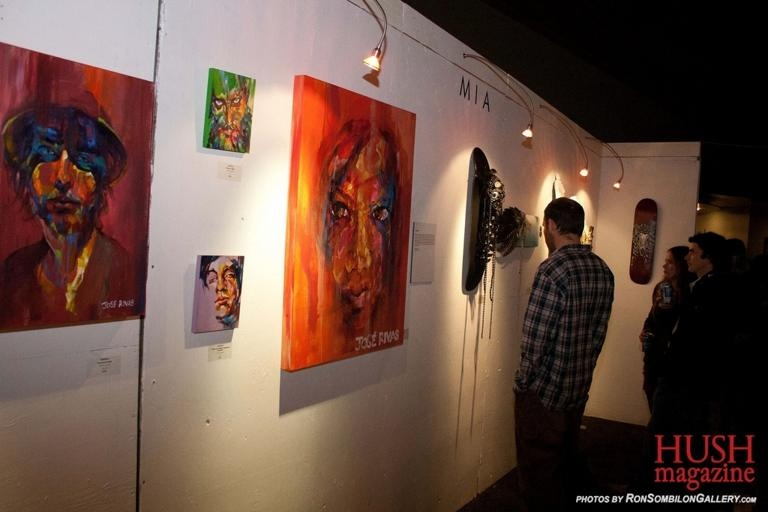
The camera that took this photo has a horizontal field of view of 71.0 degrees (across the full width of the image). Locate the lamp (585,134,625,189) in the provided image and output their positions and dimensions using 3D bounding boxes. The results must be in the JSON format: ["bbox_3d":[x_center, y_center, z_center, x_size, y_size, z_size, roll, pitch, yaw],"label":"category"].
[{"bbox_3d":[2.584,-1.059,6.246,0.445,0.639,0.163,4,1,-24],"label":"lamp"}]
